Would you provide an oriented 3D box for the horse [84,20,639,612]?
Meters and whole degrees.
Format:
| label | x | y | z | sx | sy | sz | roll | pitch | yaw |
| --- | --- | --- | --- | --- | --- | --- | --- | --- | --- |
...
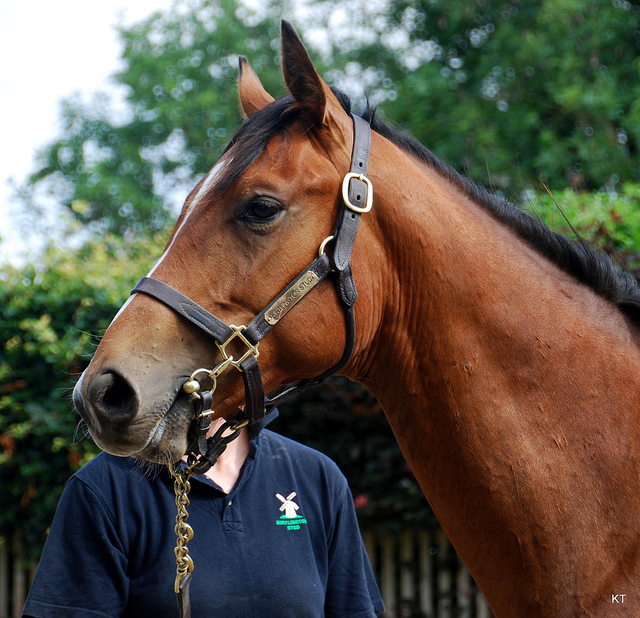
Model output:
| label | x | y | z | sx | sy | sz | roll | pitch | yaw |
| --- | --- | --- | --- | --- | --- | --- | --- | --- | --- |
| horse | 0.263 | 0.149 | 3.520 | 1.804 | 1.999 | 0.705 | -4 | -25 | -23 |
